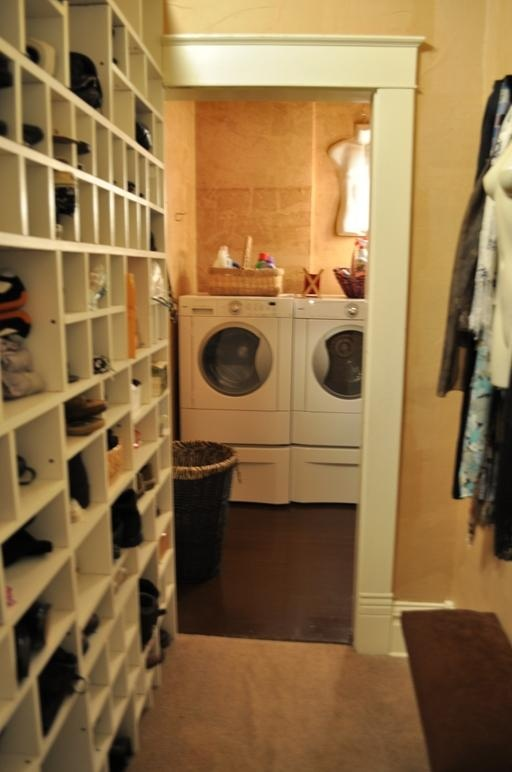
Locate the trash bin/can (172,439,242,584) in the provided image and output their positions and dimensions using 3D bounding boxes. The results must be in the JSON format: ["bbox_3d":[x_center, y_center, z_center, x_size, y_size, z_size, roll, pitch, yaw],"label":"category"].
[{"bbox_3d":[-0.241,0.557,2.780,0.480,0.549,0.505,1,7,-1],"label":"trash bin/can"}]

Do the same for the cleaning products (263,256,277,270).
[{"bbox_3d":[0.085,-0.714,3.544,0.048,0.076,0.121,9,9,9],"label":"cleaning products"}]

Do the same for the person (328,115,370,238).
[{"bbox_3d":[0.595,-1.325,3.910,0.254,0.736,0.137,3,8,18],"label":"person"}]

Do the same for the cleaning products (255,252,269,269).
[{"bbox_3d":[0.042,-0.728,3.539,0.071,0.117,0.115,0,1,6],"label":"cleaning products"}]
